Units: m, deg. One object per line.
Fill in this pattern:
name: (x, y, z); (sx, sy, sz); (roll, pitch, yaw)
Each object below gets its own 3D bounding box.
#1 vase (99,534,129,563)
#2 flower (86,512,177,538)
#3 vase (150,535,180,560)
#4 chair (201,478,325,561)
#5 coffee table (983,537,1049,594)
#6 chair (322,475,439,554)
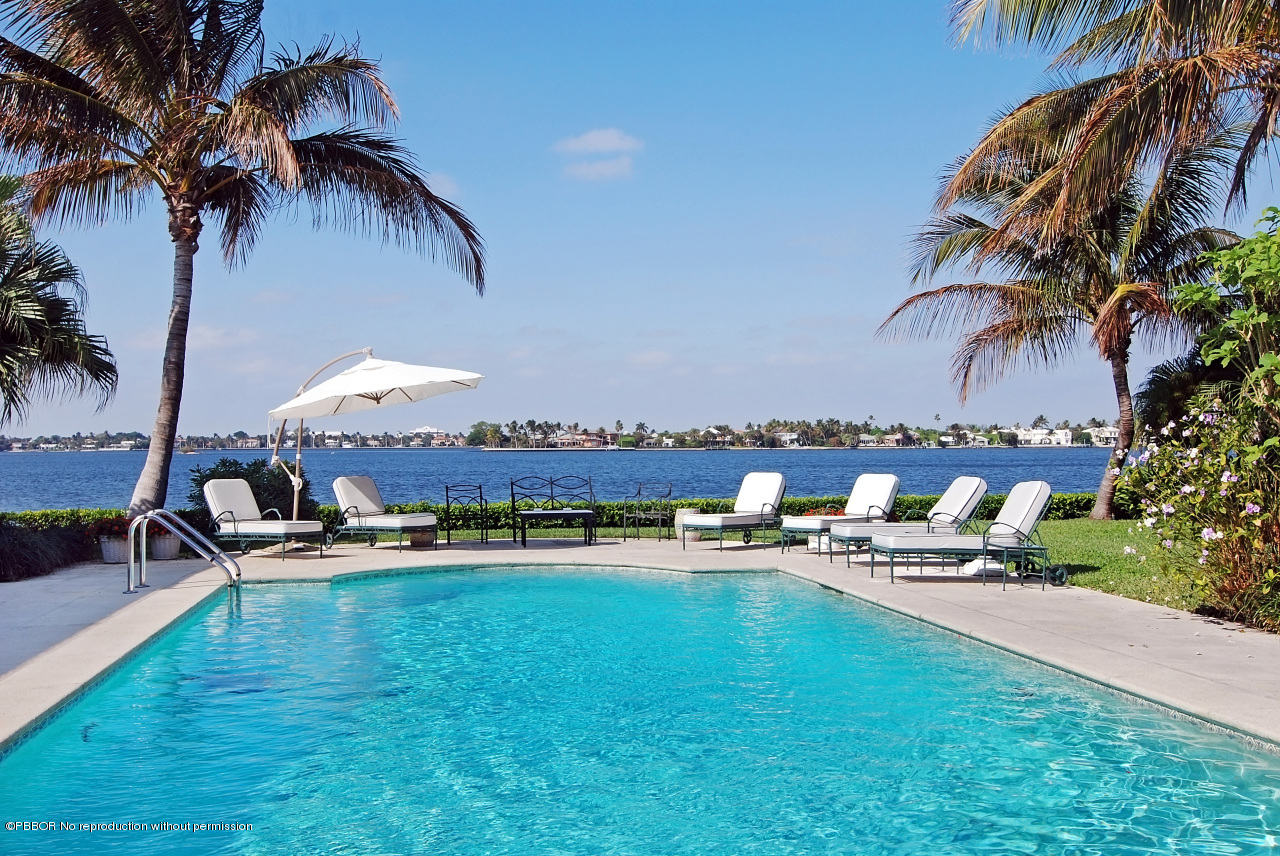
vase: (-9.130, 2.100, 16.791); (0.549, 0.428, 0.544); (4, -7, -33)
flower: (-8.582, 1.659, 16.377); (0.713, 0.354, 0.776); (0, -1, 11)
vase: (-8.514, 2.133, 17.419); (0.450, 0.347, 0.460); (-1, -7, 3)
chair: (-6.876, 1.607, 17.764); (2.216, 1.629, 1.517); (-1, -1, 27)
coffee table: (5.766, 1.975, 14.933); (0.826, 0.817, 1.262); (-1, 1, -1)
chair: (-4.903, 1.627, 18.690); (1.966, 1.438, 1.357); (-2, -1, 36)
